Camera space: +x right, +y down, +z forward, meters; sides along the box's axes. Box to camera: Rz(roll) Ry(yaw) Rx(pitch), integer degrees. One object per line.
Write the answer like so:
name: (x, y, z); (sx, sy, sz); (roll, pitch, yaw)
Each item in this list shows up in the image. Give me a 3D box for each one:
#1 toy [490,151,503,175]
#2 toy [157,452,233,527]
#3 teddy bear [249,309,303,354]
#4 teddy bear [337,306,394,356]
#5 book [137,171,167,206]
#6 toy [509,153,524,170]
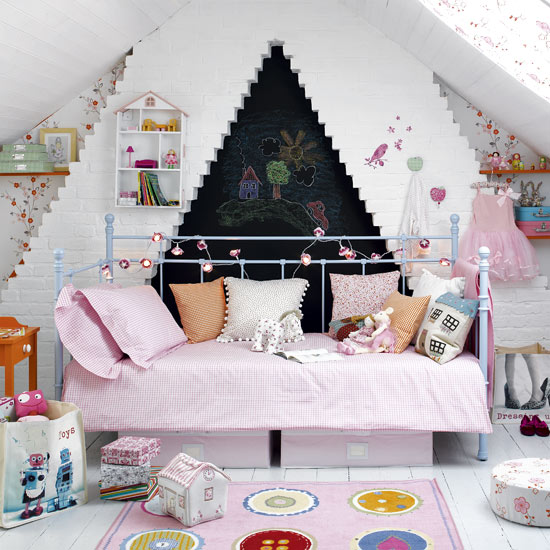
toy: (1.316, -0.672, 3.402); (0.056, 0.142, 0.153); (0, 4, 20)
toy: (-0.279, 0.748, 2.118); (0.266, 0.221, 0.286); (0, -1, -33)
teddy bear: (0.029, 0.266, 2.890); (0.194, 0.153, 0.421); (9, 9, 23)
teddy bear: (0.456, 0.270, 2.700); (0.260, 0.207, 0.086); (-30, -54, 32)
book: (-0.716, -0.500, 3.347); (0.078, 0.192, 0.171); (-9, 3, 5)
toy: (1.437, -0.675, 3.406); (0.075, 0.108, 0.141); (1, 4, 23)
